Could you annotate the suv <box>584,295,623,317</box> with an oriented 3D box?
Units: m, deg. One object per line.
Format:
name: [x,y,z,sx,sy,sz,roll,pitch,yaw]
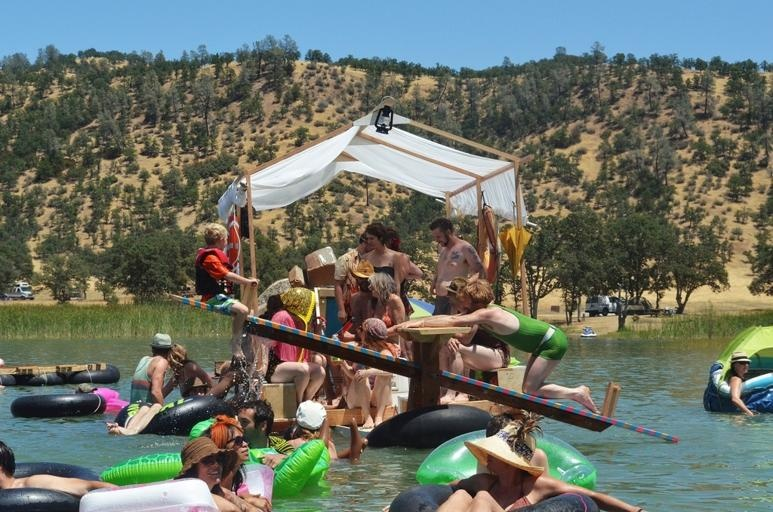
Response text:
suv: [26.565,6.094,176.829,3.429,1.752,2.040,-5,4,-30]

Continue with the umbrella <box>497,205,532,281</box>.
umbrella: [11.088,-0.654,125.768,2.236,5.358,1.996,2,-2,3]
